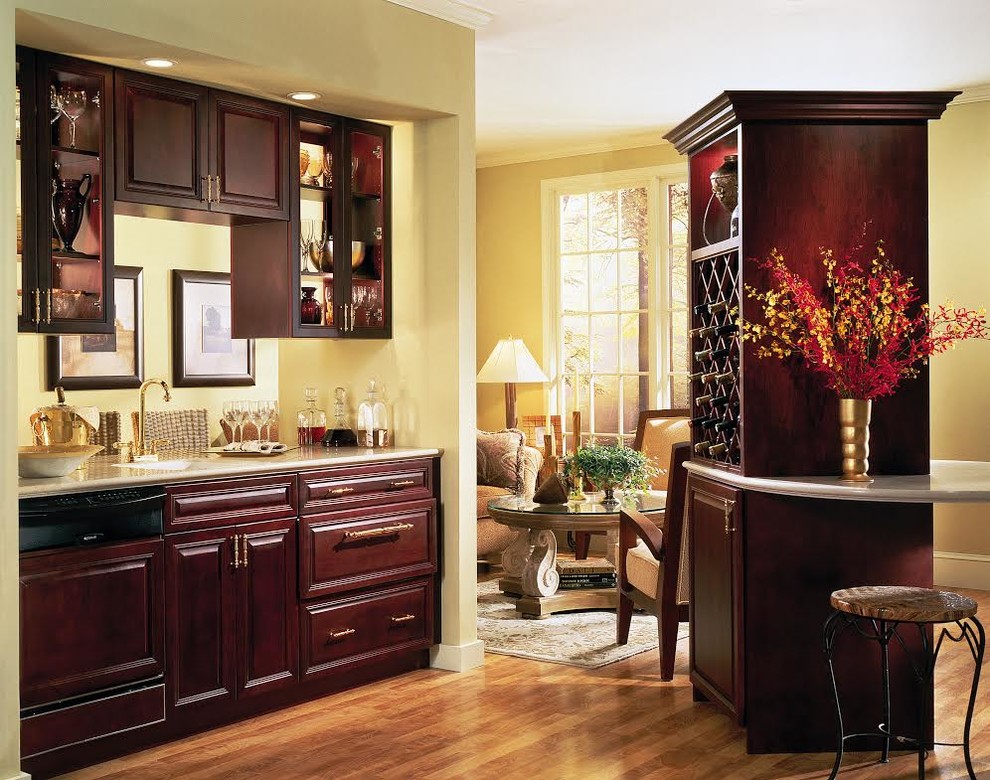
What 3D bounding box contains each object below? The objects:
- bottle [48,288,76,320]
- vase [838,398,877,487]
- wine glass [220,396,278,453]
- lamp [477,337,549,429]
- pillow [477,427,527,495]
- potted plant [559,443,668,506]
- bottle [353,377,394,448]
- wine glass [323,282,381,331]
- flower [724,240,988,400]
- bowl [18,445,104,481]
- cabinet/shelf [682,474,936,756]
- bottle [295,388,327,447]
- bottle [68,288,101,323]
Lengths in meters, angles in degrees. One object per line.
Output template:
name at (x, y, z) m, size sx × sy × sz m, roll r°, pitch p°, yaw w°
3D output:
bottle at (-1.718, -0.341, 3.251) m, size 0.071 × 0.095 × 0.130 m, roll -2°, pitch -1°, yaw 19°
vase at (1.342, 0.177, 3.065) m, size 0.103 × 0.303 × 0.233 m, roll -2°, pitch 1°, yaw 23°
wine glass at (-1.332, 0.172, 4.352) m, size 0.287 × 0.318 × 0.285 m, roll -1°, pitch 1°, yaw 6°
lamp at (0.145, -0.060, 7.230) m, size 0.725 × 1.006 × 0.727 m, roll 0°, pitch -3°, yaw -2°
pillow at (0.049, 0.581, 6.551) m, size 0.409 × 0.419 × 0.179 m, roll 3°, pitch -9°, yaw 1°
potted plant at (0.731, 0.522, 5.233) m, size 0.409 × 0.261 × 0.412 m, roll 0°, pitch 0°, yaw -2°
bottle at (-0.647, 0.117, 4.419) m, size 0.192 × 0.286 × 0.362 m, roll -3°, pitch 1°, yaw -9°
wine glass at (-0.765, -0.441, 4.300) m, size 0.143 × 0.247 × 0.269 m, roll 2°, pitch 2°, yaw 37°
flower at (1.372, -0.274, 3.217) m, size 0.743 × 0.461 × 0.648 m, roll 3°, pitch 9°, yaw 42°
bowl at (-1.768, 0.287, 3.344) m, size 0.276 × 0.124 × 0.520 m, roll -3°, pitch 1°, yaw -28°
cabinet/shelf at (1.253, 0.914, 3.831) m, size 0.985 × 1.386 × 0.946 m, roll 0°, pitch 0°, yaw 9°
bottle at (-1.014, 0.142, 4.549) m, size 0.163 × 0.258 × 0.401 m, roll -3°, pitch 1°, yaw -12°
bottle at (-1.650, -0.355, 3.342) m, size 0.105 × 0.109 × 0.115 m, roll 4°, pitch 4°, yaw 29°
